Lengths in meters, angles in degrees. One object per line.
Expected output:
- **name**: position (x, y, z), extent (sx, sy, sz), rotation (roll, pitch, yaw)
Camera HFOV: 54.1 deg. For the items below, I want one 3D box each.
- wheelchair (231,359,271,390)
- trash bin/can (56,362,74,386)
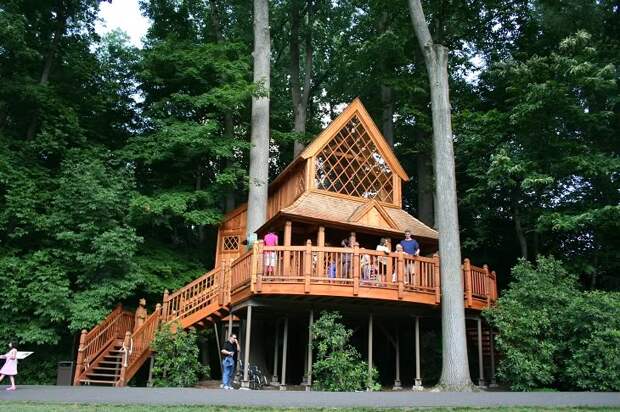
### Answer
- **wheelchair**: position (-2.813, 8.266, 29.270), extent (1.272, 1.393, 1.837), rotation (6, -60, -7)
- **trash bin/can**: position (-11.529, 7.909, 28.643), extent (0.772, 1.026, 0.445), rotation (-6, -17, 21)
